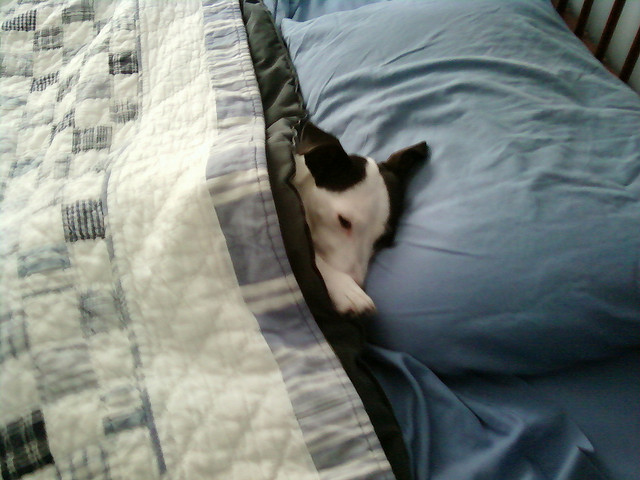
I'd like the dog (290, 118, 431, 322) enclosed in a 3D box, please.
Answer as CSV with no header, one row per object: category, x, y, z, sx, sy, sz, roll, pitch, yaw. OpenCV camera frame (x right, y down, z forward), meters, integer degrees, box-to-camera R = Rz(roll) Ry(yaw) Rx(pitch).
dog,0.076,-0.048,1.083,0.211,0.180,0.323,-38,40,21
